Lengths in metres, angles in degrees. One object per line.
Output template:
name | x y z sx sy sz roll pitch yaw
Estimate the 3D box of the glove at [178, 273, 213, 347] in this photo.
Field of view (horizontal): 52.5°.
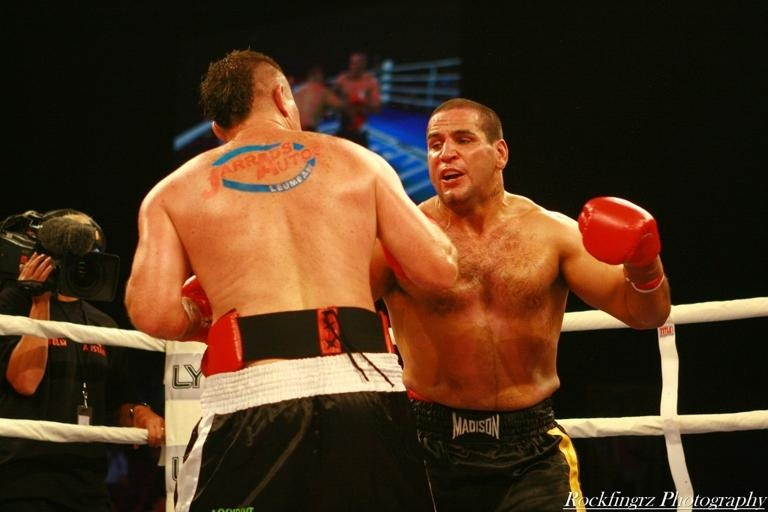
glove | -0.949 0.258 3.949 0.236 0.309 0.113 0 -10 -29
